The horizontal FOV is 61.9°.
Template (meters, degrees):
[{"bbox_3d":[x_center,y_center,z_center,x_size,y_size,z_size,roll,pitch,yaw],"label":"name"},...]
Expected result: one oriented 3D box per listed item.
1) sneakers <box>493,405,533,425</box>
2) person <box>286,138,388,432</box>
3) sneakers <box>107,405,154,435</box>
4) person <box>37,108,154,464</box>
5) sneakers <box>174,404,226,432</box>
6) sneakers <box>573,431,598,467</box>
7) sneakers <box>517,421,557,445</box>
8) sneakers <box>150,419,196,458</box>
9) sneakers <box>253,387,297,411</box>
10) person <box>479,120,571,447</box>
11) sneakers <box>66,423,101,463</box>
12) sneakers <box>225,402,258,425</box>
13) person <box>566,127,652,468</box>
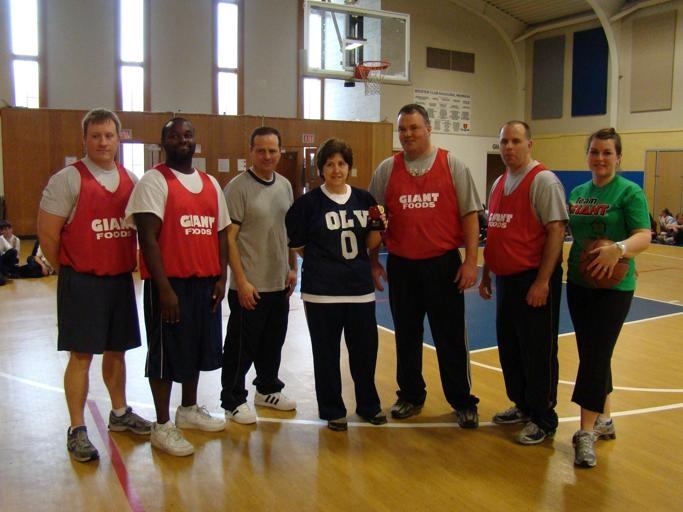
[{"bbox_3d":[1.233,1.140,4.104,0.254,0.137,0.111,2,1,-5],"label":"sneakers"},{"bbox_3d":[-0.026,0.213,3.928,0.674,1.991,0.243,-1,9,-7],"label":"person"},{"bbox_3d":[-1.437,1.124,4.011,0.360,0.220,0.161,6,0,-3],"label":"sneakers"},{"bbox_3d":[-1.567,0.168,3.658,0.614,2.195,0.429,-5,10,-31],"label":"person"},{"bbox_3d":[-0.986,1.125,4.023,0.330,0.175,0.162,4,-1,-5],"label":"sneakers"},{"bbox_3d":[1.543,1.216,3.599,0.145,0.180,0.180,4,10,25],"label":"sneakers"},{"bbox_3d":[1.333,1.180,3.836,0.285,0.150,0.112,2,-3,-26],"label":"sneakers"},{"bbox_3d":[-1.098,1.183,3.754,0.283,0.182,0.153,15,7,18],"label":"sneakers"},{"bbox_3d":[-0.499,1.111,4.411,0.335,0.165,0.134,3,2,9],"label":"sneakers"},{"bbox_3d":[1.219,0.163,3.872,0.573,2.125,0.416,7,11,37],"label":"person"},{"bbox_3d":[-1.650,1.197,3.662,0.119,0.157,0.310,1,2,-39],"label":"sneakers"},{"bbox_3d":[-0.718,1.133,4.129,0.228,0.119,0.117,-2,-4,39],"label":"sneakers"},{"bbox_3d":[1.694,0.237,3.658,0.486,2.089,0.661,4,9,22],"label":"person"}]
